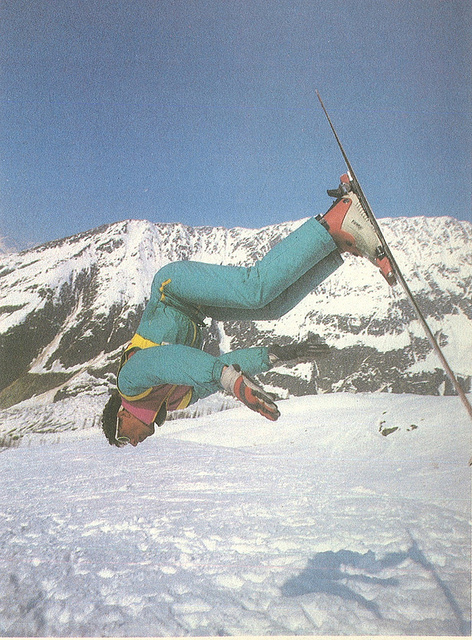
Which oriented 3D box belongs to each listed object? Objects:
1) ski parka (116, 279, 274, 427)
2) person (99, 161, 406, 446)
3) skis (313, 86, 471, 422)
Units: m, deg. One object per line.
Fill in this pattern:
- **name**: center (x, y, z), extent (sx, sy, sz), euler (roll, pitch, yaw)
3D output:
- **ski parka**: center (-0.333, 0.164, 2.599), extent (0.765, 0.440, 0.511), euler (-28, 0, 39)
- **person**: center (0.026, -0.005, 2.513), extent (1.485, 0.825, 0.795), euler (-37, -22, 4)
- **skis**: center (0.960, -0.030, 3.470), extent (0.055, 2.101, 0.252), euler (-15, -5, -3)
